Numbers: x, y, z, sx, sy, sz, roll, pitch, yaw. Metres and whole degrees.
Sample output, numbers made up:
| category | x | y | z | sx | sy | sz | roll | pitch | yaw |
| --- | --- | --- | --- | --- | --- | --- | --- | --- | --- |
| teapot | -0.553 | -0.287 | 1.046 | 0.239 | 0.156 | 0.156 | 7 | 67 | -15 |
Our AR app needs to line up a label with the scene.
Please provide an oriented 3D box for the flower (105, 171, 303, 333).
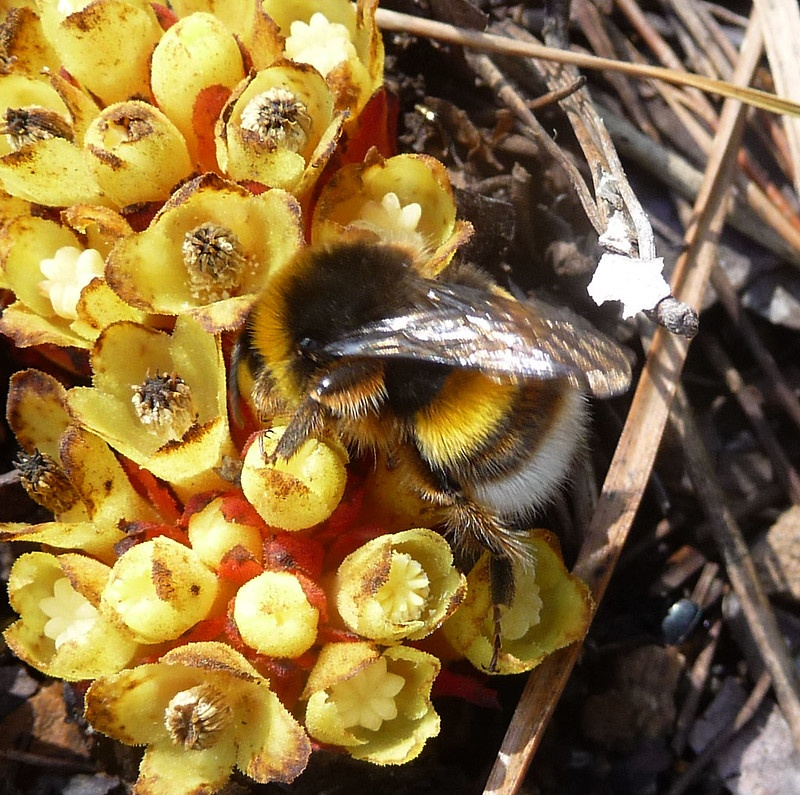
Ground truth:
| category | x | y | z | sx | sy | sz | roll | pitch | yaw |
| --- | --- | --- | --- | --- | --- | --- | --- | --- | --- |
| flower | -0.272 | -0.213 | 1.356 | 0.264 | 0.206 | 0.099 | 0 | 30 | -14 |

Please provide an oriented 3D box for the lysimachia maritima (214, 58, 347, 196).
| category | x | y | z | sx | sy | sz | roll | pitch | yaw |
| --- | --- | --- | --- | --- | --- | --- | --- | --- | --- |
| lysimachia maritima | -0.172 | -0.377 | 1.401 | 0.181 | 0.192 | 0.113 | 1 | 29 | -12 |

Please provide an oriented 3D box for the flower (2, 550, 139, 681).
| category | x | y | z | sx | sy | sz | roll | pitch | yaw |
| --- | --- | --- | --- | --- | --- | --- | --- | --- | --- |
| flower | -0.476 | 0.326 | 1.371 | 0.229 | 0.145 | 0.104 | 27 | 34 | 30 |

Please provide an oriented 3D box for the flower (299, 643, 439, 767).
| category | x | y | z | sx | sy | sz | roll | pitch | yaw |
| --- | --- | --- | --- | --- | --- | --- | --- | --- | --- |
| flower | -0.036 | 0.405 | 1.310 | 0.183 | 0.171 | 0.115 | 8 | 29 | 0 |

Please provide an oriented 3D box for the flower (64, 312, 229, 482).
| category | x | y | z | sx | sy | sz | roll | pitch | yaw |
| --- | --- | --- | --- | --- | --- | --- | --- | --- | --- |
| flower | -0.333 | 0.000 | 1.363 | 0.224 | 0.188 | 0.152 | 20 | 31 | 21 |
